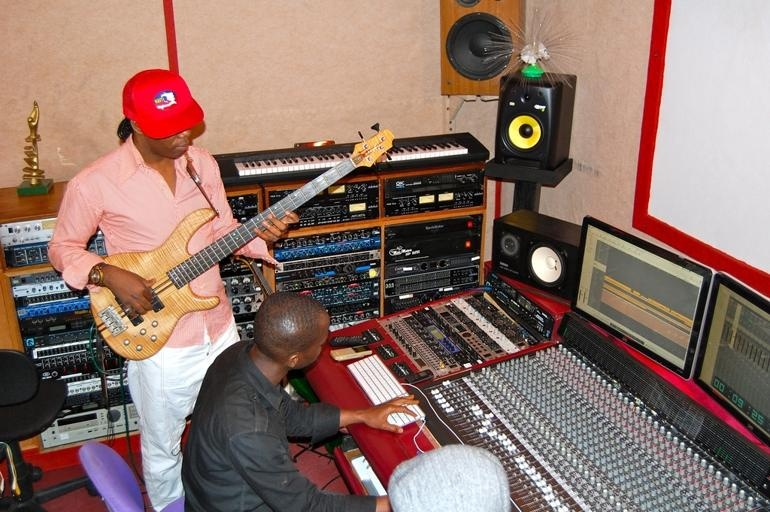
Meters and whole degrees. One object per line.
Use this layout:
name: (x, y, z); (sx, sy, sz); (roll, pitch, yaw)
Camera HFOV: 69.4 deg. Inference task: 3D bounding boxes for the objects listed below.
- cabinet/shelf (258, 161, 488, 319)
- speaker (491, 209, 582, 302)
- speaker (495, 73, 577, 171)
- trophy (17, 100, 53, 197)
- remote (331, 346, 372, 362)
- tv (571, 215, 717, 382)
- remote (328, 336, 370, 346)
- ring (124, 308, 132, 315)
cabinet/shelf: (0.018, -0.374, 4.991); (1.594, 1.175, 1.012); (-11, 34, -17)
speaker: (0.908, 0.018, 3.367); (0.257, 0.292, 0.458); (-14, 33, -44)
speaker: (0.985, -0.879, 3.621); (0.529, 0.593, 0.353); (-1, 26, 2)
trophy: (-2.491, -0.773, 3.968); (0.269, 0.585, 0.288); (-9, 23, -42)
remote: (-0.193, 0.549, 3.158); (0.185, 0.031, 0.092); (-7, 24, -18)
tv: (1.311, 0.249, 2.845); (0.105, 0.752, 0.947); (-11, 22, -29)
remote: (-0.197, 0.488, 3.214); (0.171, 0.034, 0.083); (0, 19, -7)
ring: (-1.431, 0.312, 3.112); (0.047, 0.014, 0.033); (48, 32, 22)
